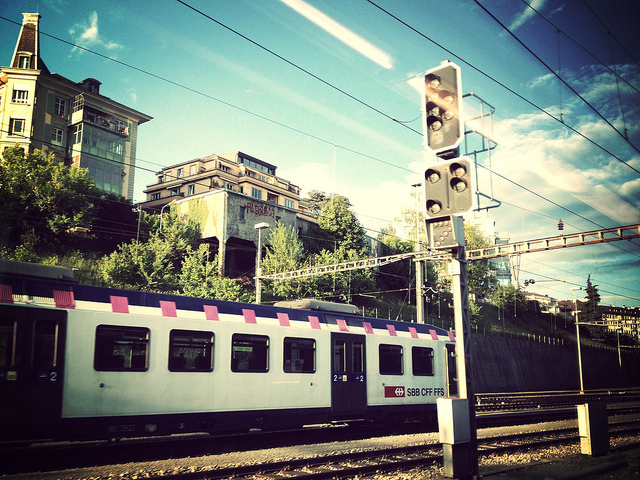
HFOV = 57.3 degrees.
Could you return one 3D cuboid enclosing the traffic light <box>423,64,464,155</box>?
[{"bbox_3d":[3.184,-3.427,15.393,1.026,2.196,0.698,-5,-12,13],"label":"traffic light"}]
